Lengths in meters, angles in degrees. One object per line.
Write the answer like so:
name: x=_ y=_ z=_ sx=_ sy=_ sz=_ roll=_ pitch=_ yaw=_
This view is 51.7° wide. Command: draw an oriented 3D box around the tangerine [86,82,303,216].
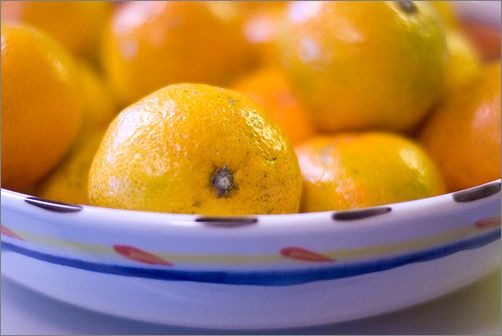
tangerine: x=-0.060 y=0.004 z=0.652 sx=0.171 sy=0.168 sz=0.168 roll=1 pitch=79 yaw=2

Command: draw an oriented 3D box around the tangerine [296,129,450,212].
tangerine: x=0.143 y=0.006 z=0.633 sx=0.104 sy=0.137 sz=0.073 roll=-5 pitch=90 yaw=35
